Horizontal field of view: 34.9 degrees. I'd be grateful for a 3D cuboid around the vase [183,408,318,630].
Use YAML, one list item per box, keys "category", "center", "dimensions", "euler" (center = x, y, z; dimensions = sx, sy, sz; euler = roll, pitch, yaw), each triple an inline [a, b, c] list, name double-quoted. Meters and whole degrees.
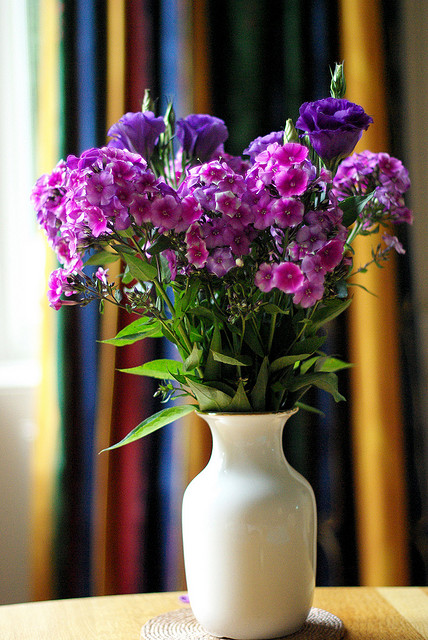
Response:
- category: "vase"
  center: [0.043, 0.214, 0.748]
  dimensions: [0.155, 0.233, 0.144]
  euler: [-3, -4, 22]
